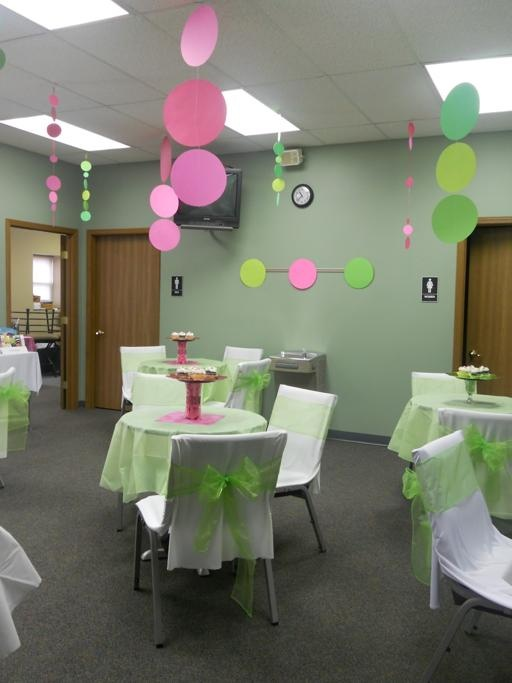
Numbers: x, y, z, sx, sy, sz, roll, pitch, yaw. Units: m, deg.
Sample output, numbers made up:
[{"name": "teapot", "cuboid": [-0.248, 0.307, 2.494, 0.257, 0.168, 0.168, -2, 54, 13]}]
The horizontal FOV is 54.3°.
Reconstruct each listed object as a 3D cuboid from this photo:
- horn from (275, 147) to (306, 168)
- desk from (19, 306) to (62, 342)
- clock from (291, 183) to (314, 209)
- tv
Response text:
[{"name": "horn", "cuboid": [0.357, -1.837, 4.989, 0.230, 0.141, 0.189, 1, 0, 11]}, {"name": "desk", "cuboid": [-4.105, -0.301, 9.331, 0.617, 0.691, 0.384, 1, 4, 3]}, {"name": "clock", "cuboid": [0.465, -1.465, 5.036, 0.209, 0.237, 0.065, 7, 8, 35]}, {"name": "tv", "cuboid": [-0.489, -1.352, 5.344, 0.790, 0.858, 0.628, 4, 10, 11]}]
